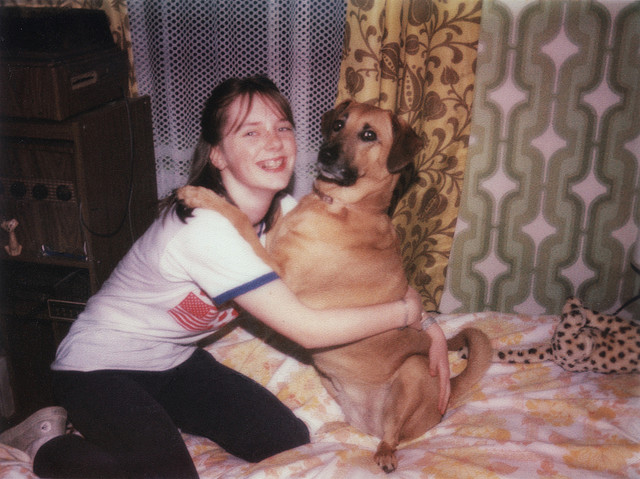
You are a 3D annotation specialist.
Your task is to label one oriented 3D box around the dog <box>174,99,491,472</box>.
[{"bbox_3d":[0.128,0.113,1.741,1.044,1.116,0.470,-4,12,-22],"label":"dog"}]
